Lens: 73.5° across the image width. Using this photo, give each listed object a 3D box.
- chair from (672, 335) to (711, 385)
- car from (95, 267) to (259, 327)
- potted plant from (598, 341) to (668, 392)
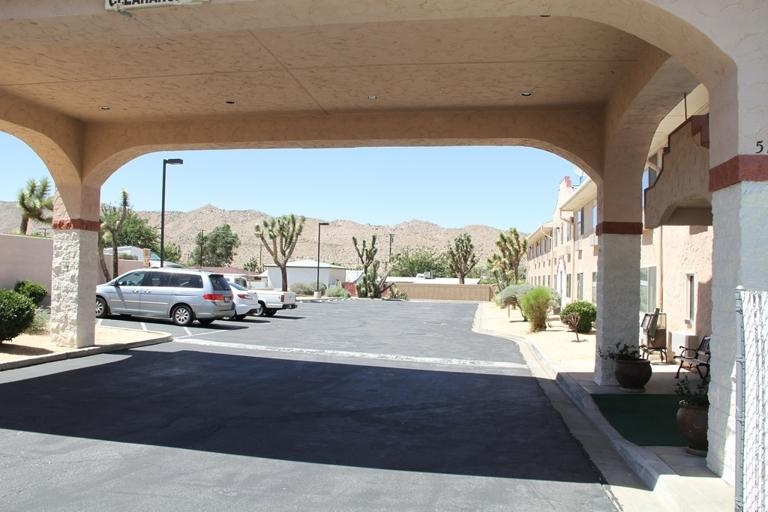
[{"bbox_3d":[6.937,2.362,11.760,0.664,0.734,0.597,2,17,32],"label":"chair"},{"bbox_3d":[-8.490,1.626,21.024,5.464,1.554,2.206,4,-1,8],"label":"car"},{"bbox_3d":[5.078,2.353,10.916,0.847,0.881,0.876,1,-2,8],"label":"potted plant"}]
